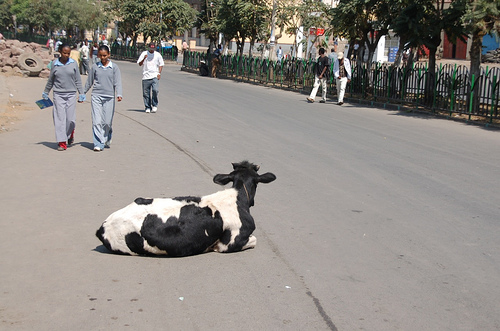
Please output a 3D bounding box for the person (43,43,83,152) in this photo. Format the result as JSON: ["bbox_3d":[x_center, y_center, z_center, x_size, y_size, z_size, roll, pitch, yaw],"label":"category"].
[{"bbox_3d":[-4.665,-1.719,11.344,0.861,2.535,0.964,-4,15,-22],"label":"person"}]

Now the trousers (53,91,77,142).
[{"bbox_3d":[-4.599,-1.231,11.248,0.608,1.213,0.341,1,7,-7],"label":"trousers"}]

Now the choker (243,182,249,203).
[{"bbox_3d":[-0.061,0.381,6.375,0.036,0.300,0.014,-22,-3,34],"label":"choker"}]

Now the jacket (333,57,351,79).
[{"bbox_3d":[4.913,-5.104,24.036,0.900,1.056,1.060,5,15,12],"label":"jacket"}]

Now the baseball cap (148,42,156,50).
[{"bbox_3d":[-3.600,-4.312,16.545,0.304,0.178,0.290,12,33,20],"label":"baseball cap"}]

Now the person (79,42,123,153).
[{"bbox_3d":[-3.744,-1.721,11.475,0.943,2.521,1.013,-1,14,-12],"label":"person"}]

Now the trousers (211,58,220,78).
[{"bbox_3d":[-2.960,-8.194,38.011,0.656,1.430,0.464,11,0,-36],"label":"trousers"}]

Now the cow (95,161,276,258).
[{"bbox_3d":[-0.810,0.605,6.490,2.626,1.235,1.017,-10,26,-25],"label":"cow"}]

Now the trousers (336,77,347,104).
[{"bbox_3d":[4.697,-3.888,23.382,0.528,1.251,1.197,5,15,10],"label":"trousers"}]

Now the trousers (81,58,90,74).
[{"bbox_3d":[-11.587,-6.965,31.824,0.449,1.166,2.324,-4,17,-23],"label":"trousers"}]

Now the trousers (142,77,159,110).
[{"bbox_3d":[-3.758,-2.713,17.136,0.540,1.246,0.515,-1,14,-14],"label":"trousers"}]

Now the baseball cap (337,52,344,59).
[{"bbox_3d":[4.699,-5.636,23.499,0.367,0.203,0.552,-2,24,11],"label":"baseball cap"}]

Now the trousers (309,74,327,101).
[{"bbox_3d":[3.688,-4.124,24.242,0.840,1.385,1.696,4,15,8],"label":"trousers"}]

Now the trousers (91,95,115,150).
[{"bbox_3d":[-3.705,-1.095,11.444,0.538,1.328,0.508,-5,15,-27],"label":"trousers"}]
